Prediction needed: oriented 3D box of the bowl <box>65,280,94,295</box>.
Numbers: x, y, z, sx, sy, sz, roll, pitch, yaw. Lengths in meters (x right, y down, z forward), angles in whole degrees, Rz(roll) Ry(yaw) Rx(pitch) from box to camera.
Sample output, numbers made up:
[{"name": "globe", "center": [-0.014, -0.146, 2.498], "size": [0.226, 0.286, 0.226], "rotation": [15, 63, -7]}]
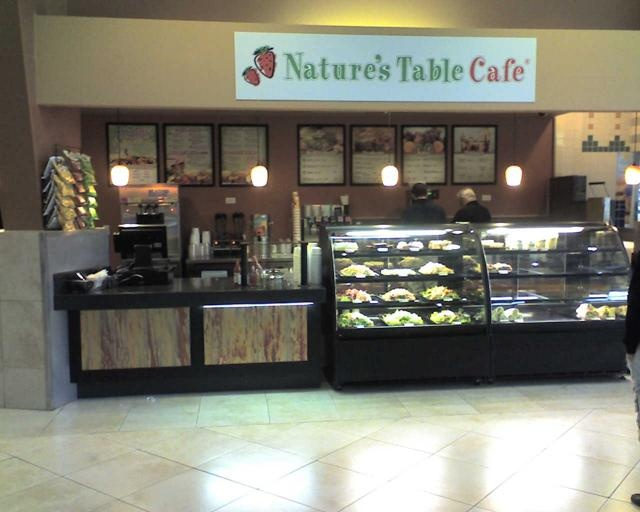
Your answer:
[{"name": "bowl", "center": [-2.239, 0.294, 5.383], "size": [0.148, 0.087, 0.146], "rotation": [2, -1, 0]}]

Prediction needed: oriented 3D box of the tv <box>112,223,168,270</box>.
[{"name": "tv", "center": [-2.342, -0.092, 7.653], "size": [0.692, 0.536, 0.366], "rotation": [0, -6, -14]}]

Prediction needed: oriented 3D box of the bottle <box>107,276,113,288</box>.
[{"name": "bottle", "center": [-2.046, 0.258, 5.676], "size": [0.033, 0.099, 0.069], "rotation": [4, 11, 24]}]

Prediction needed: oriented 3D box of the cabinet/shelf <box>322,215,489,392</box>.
[{"name": "cabinet/shelf", "center": [0.658, 0.414, 6.182], "size": [1.996, 1.648, 1.028], "rotation": [1, 5, -30]}]

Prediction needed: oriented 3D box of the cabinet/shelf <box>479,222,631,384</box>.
[{"name": "cabinet/shelf", "center": [2.339, 0.500, 5.845], "size": [1.725, 1.797, 1.043], "rotation": [0, 1, -4]}]

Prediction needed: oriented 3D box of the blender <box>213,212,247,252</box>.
[{"name": "blender", "center": [-1.419, -0.361, 9.169], "size": [0.565, 0.581, 0.203], "rotation": [-1, 17, -3]}]
